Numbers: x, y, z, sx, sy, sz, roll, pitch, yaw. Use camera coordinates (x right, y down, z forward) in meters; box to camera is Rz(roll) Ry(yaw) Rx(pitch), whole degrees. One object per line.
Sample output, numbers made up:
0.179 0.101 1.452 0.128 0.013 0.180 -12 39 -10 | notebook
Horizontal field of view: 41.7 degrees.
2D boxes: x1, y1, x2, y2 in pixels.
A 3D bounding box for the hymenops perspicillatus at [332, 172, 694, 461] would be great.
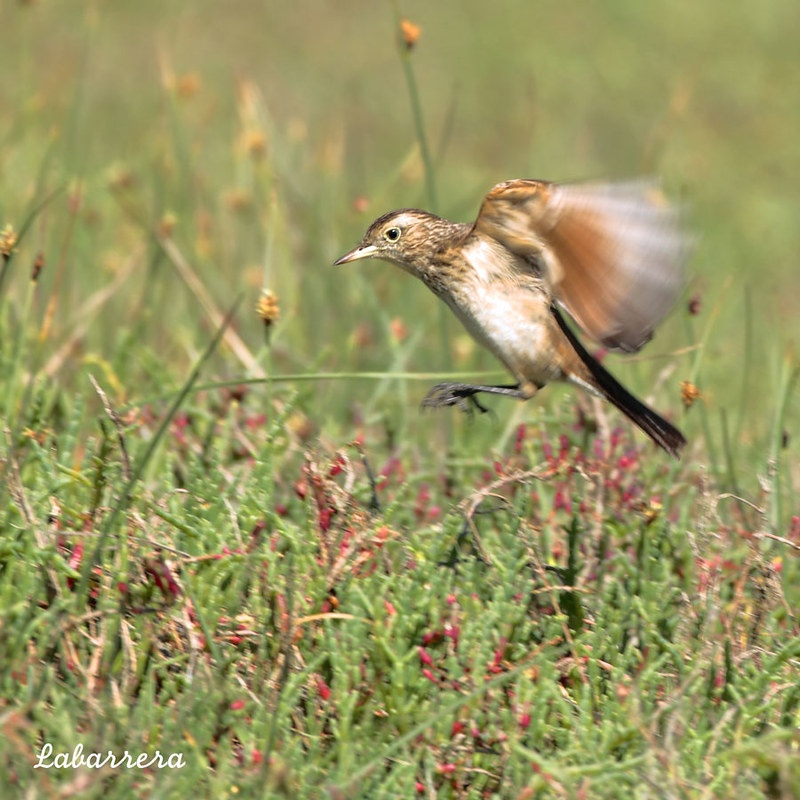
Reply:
0.232 -0.255 2.340 0.714 0.440 0.898 0 7 2 | hymenops perspicillatus
